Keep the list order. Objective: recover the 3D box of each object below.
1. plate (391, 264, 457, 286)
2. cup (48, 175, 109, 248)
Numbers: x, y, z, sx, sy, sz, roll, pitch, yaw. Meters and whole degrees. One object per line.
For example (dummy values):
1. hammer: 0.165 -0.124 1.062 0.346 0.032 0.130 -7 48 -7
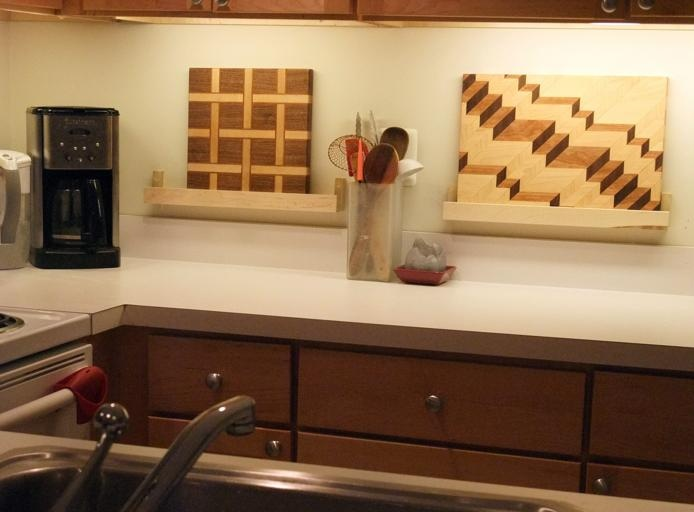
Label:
1. plate: 0.243 0.055 1.948 0.178 0.053 0.152 4 9 9
2. cup: -0.814 -0.140 1.917 0.207 0.266 0.206 0 0 0
